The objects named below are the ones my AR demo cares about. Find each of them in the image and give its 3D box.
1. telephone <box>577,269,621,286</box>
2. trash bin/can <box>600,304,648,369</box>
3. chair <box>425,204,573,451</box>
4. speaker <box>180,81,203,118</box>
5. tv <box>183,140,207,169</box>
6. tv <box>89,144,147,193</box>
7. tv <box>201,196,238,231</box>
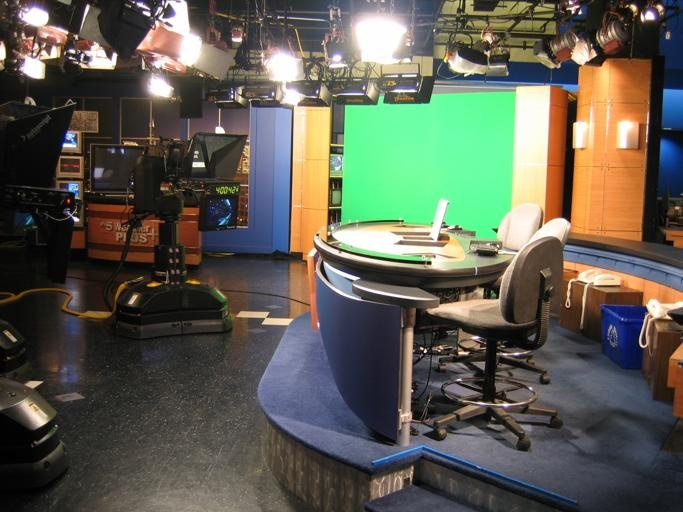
[{"bbox_3d":[2.315,0.194,5.067,0.173,0.082,0.207,-3,9,-13],"label":"telephone"},{"bbox_3d":[2.376,0.657,4.655,0.418,0.398,0.595,2,7,5],"label":"trash bin/can"},{"bbox_3d":[1.161,0.417,4.023,0.804,1.284,1.618,4,10,21],"label":"chair"},{"bbox_3d":[-2.691,-2.728,10.248,0.409,0.730,0.382,-2,-12,-9],"label":"speaker"},{"bbox_3d":[-1.375,-0.954,5.371,0.215,0.378,0.205,4,16,3],"label":"tv"},{"bbox_3d":[-3.032,-1.200,7.808,0.929,0.666,0.075,3,3,16],"label":"tv"},{"bbox_3d":[-1.182,-0.446,5.538,0.065,0.377,0.438,15,15,33],"label":"tv"}]
